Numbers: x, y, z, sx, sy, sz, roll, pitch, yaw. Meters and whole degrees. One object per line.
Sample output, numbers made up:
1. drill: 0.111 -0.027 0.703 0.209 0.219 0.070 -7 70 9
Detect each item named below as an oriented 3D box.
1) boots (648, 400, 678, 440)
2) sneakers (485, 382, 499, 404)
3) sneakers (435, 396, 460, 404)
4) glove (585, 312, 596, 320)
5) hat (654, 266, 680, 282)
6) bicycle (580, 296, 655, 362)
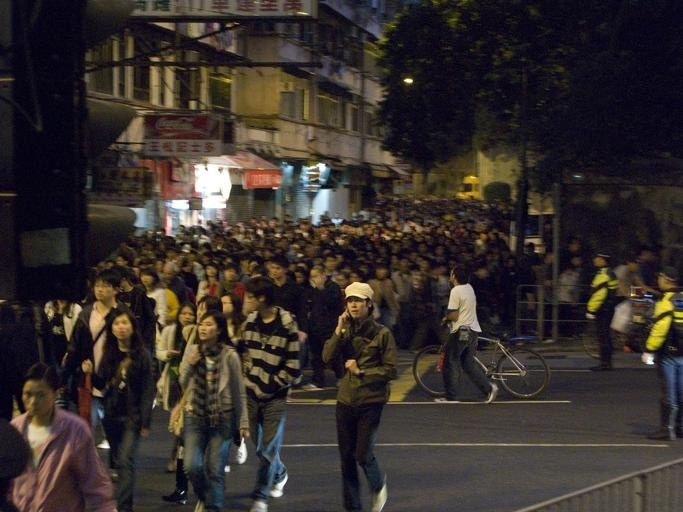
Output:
1. boots: 3.635 1.909 11.816 0.487 0.453 0.315 2 1 11
2. sneakers: 1.988 1.825 13.905 0.116 0.330 0.136 -14 -50 41
3. sneakers: 1.412 1.949 13.969 0.304 0.115 0.106 -1 3 8
4. glove: 3.837 0.960 16.185 0.114 0.097 0.116 2 4 33
5. hat: 4.365 0.259 14.079 0.285 0.138 0.211 22 13 22
6. bicycle: 4.410 1.178 16.763 1.061 0.983 2.940 2 1 13
